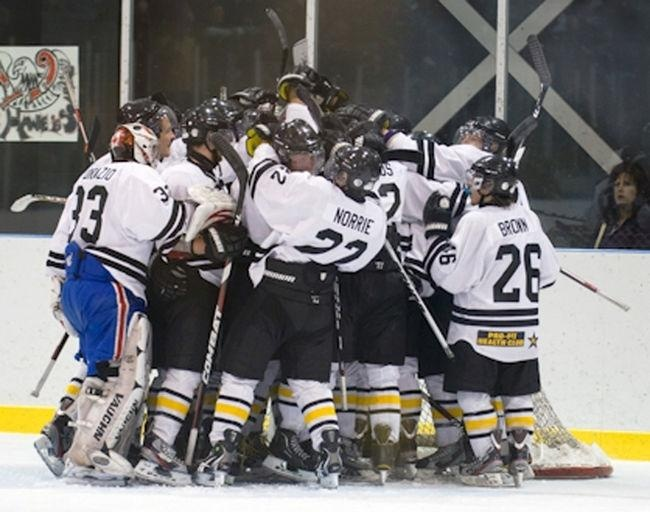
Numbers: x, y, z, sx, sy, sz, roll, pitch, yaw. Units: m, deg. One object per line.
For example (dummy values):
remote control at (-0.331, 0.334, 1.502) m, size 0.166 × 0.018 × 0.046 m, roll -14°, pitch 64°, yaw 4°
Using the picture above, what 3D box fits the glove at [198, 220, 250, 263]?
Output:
glove at (-0.590, -0.089, 6.543) m, size 0.286 × 0.245 × 0.130 m, roll 2°, pitch 5°, yaw -22°

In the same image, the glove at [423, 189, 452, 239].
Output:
glove at (0.722, -0.260, 6.977) m, size 0.176 × 0.277 × 0.144 m, roll 0°, pitch -2°, yaw -6°

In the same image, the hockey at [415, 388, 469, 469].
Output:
hockey at (0.801, 1.121, 7.185) m, size 0.322 × 0.465 × 0.109 m, roll -21°, pitch -5°, yaw 33°

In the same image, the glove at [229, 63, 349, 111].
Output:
glove at (-0.239, -1.076, 7.160) m, size 0.606 × 0.243 × 0.382 m, roll -16°, pitch 12°, yaw 14°

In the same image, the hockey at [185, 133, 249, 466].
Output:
hockey at (-0.651, 0.280, 6.654) m, size 0.275 × 2.072 × 0.430 m, roll 3°, pitch 5°, yaw -6°
